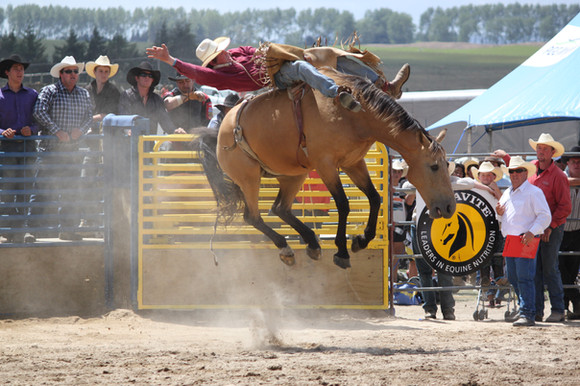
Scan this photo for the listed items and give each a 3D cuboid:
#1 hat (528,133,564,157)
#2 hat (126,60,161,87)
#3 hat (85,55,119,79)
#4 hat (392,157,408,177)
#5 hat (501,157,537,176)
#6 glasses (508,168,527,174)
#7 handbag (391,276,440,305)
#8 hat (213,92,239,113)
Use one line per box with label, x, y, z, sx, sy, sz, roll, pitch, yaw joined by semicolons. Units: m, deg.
hat;6.578;-1.256;33.996;0.846;0.594;0.805;1;2;9
hat;-3.842;-3.223;35.182;0.894;0.332;0.949;-3;1;6
hat;-5.031;-3.488;35.550;0.878;0.337;0.888;-1;-9;0
hat;2.960;-0.730;35.471;0.530;0.444;0.126;6;-18;-14
hat;5.882;-0.708;33.536;0.819;0.498;0.363;0;2;-33
glasses;5.725;-0.598;33.373;0.423;0.146;0.082;1;2;7
handbag;3.201;2.567;35.094;0.886;0.352;1.000;0;2;-10
hat;-1.531;-2.381;34.301;0.630;0.221;0.533;-25;11;-21
